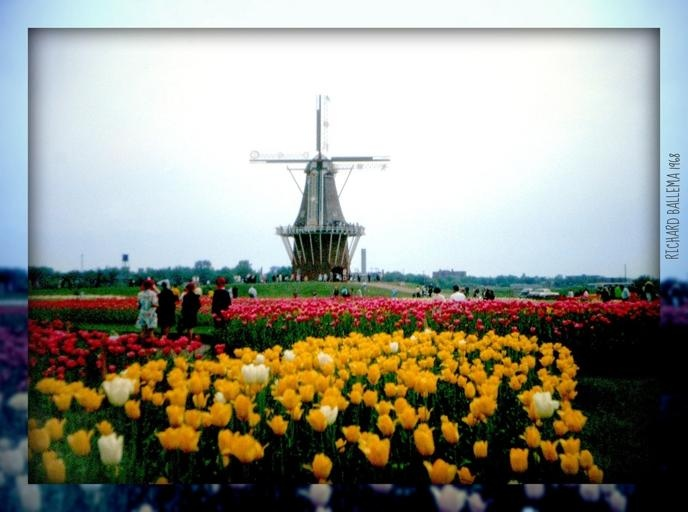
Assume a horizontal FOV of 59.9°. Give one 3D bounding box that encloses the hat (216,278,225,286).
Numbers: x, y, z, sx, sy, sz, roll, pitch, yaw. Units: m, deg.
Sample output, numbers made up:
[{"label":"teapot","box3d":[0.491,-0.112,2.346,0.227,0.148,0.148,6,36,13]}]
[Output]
[{"label":"hat","box3d":[-1.831,0.374,8.850,0.091,0.134,0.123,-1,6,-15]}]
